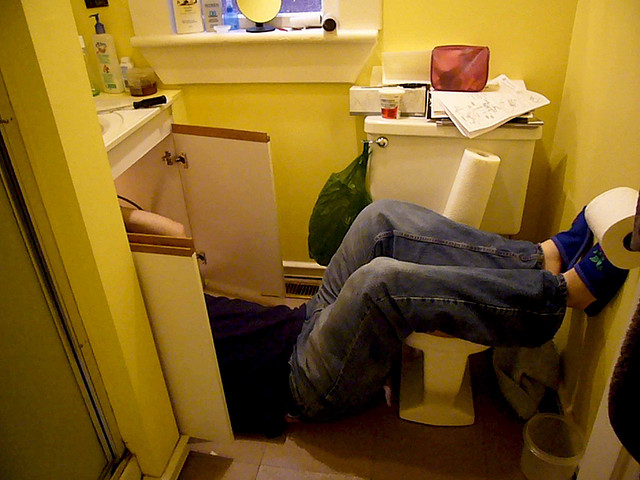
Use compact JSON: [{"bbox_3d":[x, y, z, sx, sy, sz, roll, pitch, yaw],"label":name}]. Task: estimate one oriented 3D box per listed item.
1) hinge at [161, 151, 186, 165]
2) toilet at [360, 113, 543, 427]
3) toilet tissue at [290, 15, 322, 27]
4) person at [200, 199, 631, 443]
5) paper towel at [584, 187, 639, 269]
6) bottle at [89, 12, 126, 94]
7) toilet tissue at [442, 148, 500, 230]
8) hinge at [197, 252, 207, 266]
[{"bbox_3d":[-0.528,-0.299,1.796,0.083,0.053,0.041,-10,26,-17],"label":"hinge"},{"bbox_3d":[0.403,-0.009,1.738,0.659,0.985,0.952,1,30,4],"label":"toilet"},{"bbox_3d":[-0.045,-0.795,1.806,0.110,0.028,0.030,3,64,7],"label":"toilet tissue"},{"bbox_3d":[0.170,0.228,1.571,1.379,0.547,0.614,-8,22,11],"label":"person"},{"bbox_3d":[0.687,-0.033,1.149,0.092,0.140,0.184,2,26,10],"label":"paper towel"},{"bbox_3d":[-0.787,-0.685,1.841,0.087,0.271,0.056,-8,25,-12],"label":"bottle"},{"bbox_3d":[0.475,-0.174,1.572,0.136,0.258,0.143,19,22,-2],"label":"toilet tissue"},{"bbox_3d":[-0.439,0.066,1.862,0.034,0.045,0.036,-4,47,-1],"label":"hinge"}]
